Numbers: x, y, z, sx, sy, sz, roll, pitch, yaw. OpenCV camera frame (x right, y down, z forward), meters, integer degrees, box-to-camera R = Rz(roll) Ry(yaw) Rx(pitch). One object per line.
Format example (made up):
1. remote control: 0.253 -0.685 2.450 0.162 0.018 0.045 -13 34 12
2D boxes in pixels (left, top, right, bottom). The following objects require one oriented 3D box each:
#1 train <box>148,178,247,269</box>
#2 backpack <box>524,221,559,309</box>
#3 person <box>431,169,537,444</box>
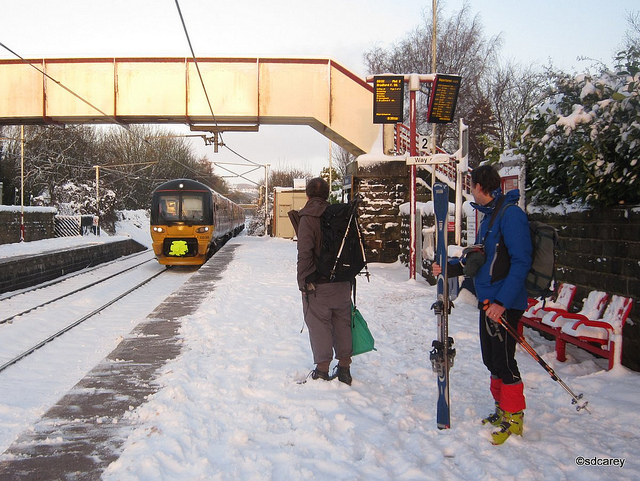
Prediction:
1. train: -5.413 -1.200 24.939 2.033 3.353 16.437 1 3 -4
2. backpack: 2.090 0.145 4.565 0.350 0.688 0.518 7 15 24
3. person: 1.616 0.592 4.702 0.885 2.604 0.929 -2 -1 -2
